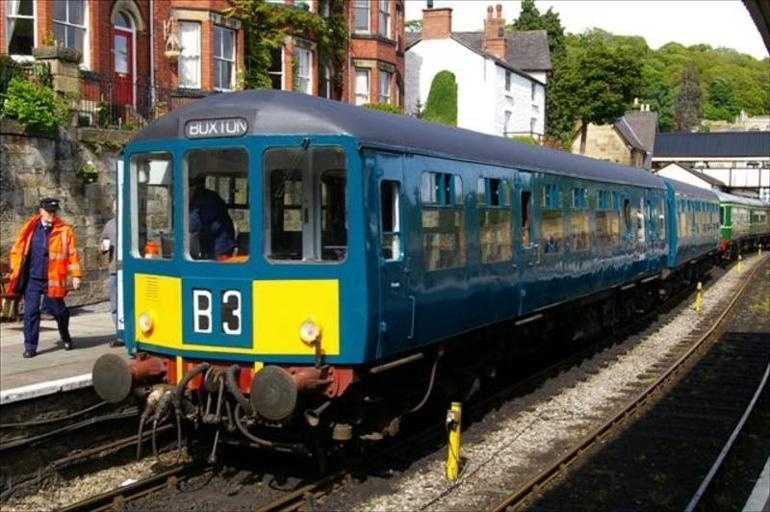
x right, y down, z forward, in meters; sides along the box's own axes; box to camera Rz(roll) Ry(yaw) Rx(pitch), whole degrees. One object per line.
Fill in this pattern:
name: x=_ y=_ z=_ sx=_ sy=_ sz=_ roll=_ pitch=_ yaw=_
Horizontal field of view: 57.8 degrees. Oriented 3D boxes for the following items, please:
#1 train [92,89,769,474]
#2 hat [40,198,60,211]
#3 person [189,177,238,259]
train: x=2.823 y=-0.114 z=15.660 sx=3.466 sy=4.679 sz=18.608 roll=0 pitch=1 yaw=31
hat: x=-5.429 y=-0.837 z=11.328 sx=0.249 sy=0.238 sz=0.339 roll=-14 pitch=11 yaw=-27
person: x=-2.166 y=-0.482 z=8.633 sx=0.566 sy=1.021 sz=0.270 roll=-4 pitch=11 yaw=26
